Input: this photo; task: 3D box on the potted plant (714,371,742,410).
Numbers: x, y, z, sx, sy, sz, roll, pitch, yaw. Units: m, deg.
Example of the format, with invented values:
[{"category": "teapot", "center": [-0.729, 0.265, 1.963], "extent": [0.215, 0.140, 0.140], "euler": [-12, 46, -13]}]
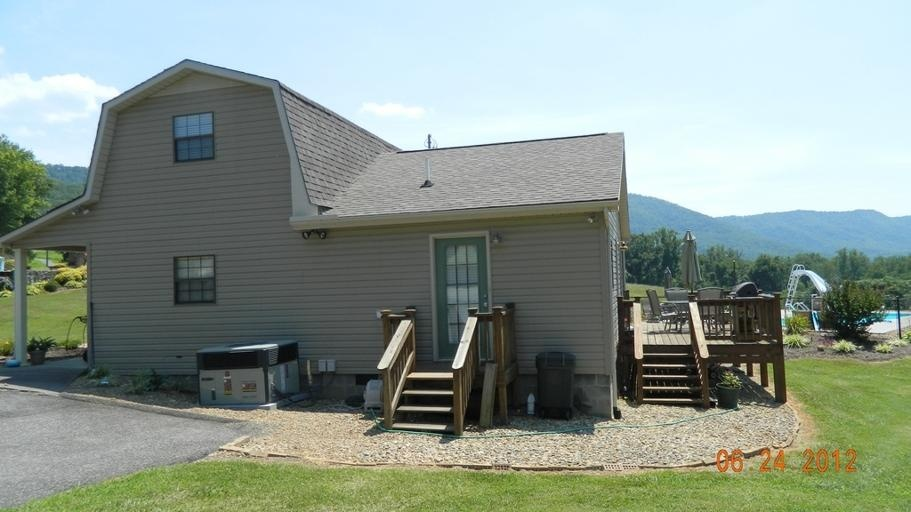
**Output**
[{"category": "potted plant", "center": [8.449, 4.116, 20.158], "extent": [0.748, 0.879, 0.701], "euler": [3, -12, 38]}]

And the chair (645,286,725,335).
[{"category": "chair", "center": [8.337, 2.039, 24.331], "extent": [2.402, 1.312, 1.830], "euler": [-4, -4, 34]}]

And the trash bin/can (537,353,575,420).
[{"category": "trash bin/can", "center": [2.954, 3.785, 19.224], "extent": [1.094, 1.941, 0.411], "euler": [-1, -8, 6]}]
